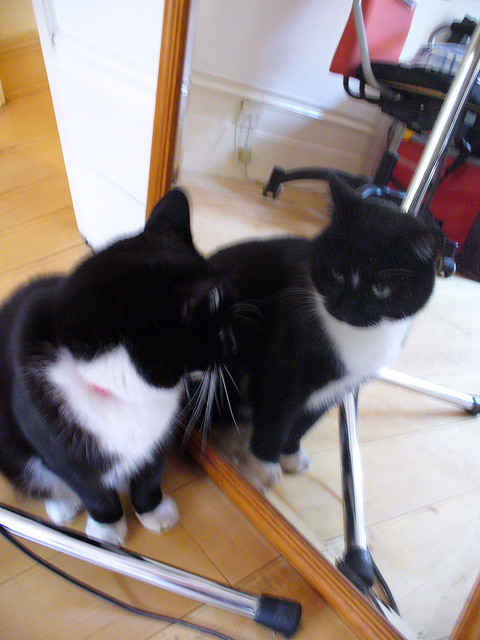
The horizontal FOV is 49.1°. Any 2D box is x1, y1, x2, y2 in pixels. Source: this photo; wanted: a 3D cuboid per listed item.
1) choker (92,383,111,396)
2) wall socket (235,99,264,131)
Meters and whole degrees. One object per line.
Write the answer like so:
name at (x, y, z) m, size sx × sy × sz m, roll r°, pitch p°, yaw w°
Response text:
choker at (-0.164, 0.084, 0.625) m, size 0.018 × 0.014 × 0.009 m, roll 24°, pitch 78°, yaw 30°
wall socket at (0.013, -0.272, 0.696) m, size 0.010 × 0.040 × 0.041 m, roll -10°, pitch 24°, yaw -44°
